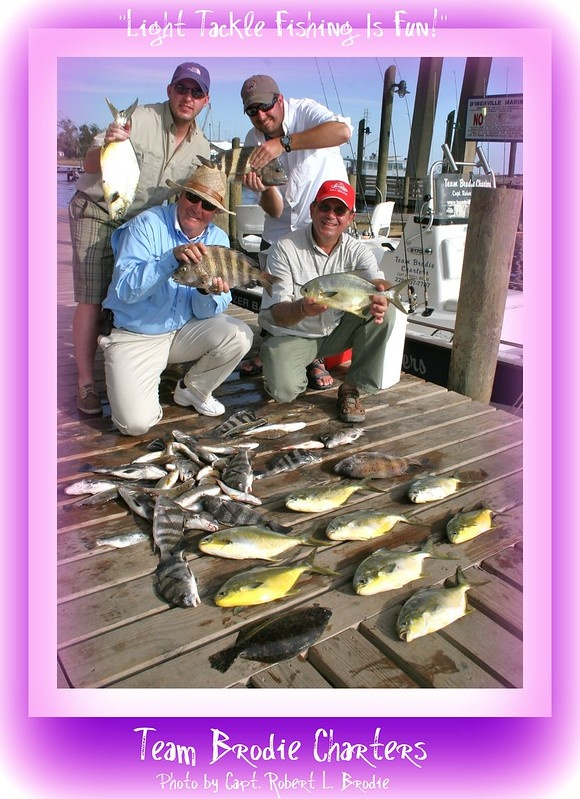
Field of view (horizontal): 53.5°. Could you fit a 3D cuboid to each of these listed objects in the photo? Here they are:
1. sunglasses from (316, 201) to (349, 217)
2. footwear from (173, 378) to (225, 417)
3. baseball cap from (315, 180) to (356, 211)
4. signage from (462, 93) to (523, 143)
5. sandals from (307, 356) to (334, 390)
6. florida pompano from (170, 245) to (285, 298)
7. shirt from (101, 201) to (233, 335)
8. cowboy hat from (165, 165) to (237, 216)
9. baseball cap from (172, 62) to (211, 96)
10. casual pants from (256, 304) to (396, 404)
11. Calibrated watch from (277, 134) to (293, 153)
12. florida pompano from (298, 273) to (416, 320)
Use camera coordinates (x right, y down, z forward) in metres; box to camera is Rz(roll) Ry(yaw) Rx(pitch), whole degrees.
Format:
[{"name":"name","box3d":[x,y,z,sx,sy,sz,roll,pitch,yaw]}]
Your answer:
[{"name":"sunglasses","box3d":[0.243,-1.112,3.367,0.212,0.084,0.120,3,41,-7]},{"name":"footwear","box3d":[-0.602,-0.002,3.724,0.398,0.170,0.154,22,29,21]},{"name":"baseball cap","box3d":[0.302,-1.201,3.413,0.327,0.169,0.179,-13,24,-39]},{"name":"signage","box3d":[2.645,-3.633,7.497,0.301,0.564,0.853,-10,22,-33]},{"name":"sandals","box3d":[0.210,-0.170,4.165,0.117,0.124,0.326,-5,17,-7]},{"name":"florida pompano","box3d":[-0.347,-0.667,2.967,0.503,0.237,0.089,-10,23,-32]},{"name":"shirt","box3d":[-0.681,-0.672,3.363,0.687,0.667,0.630,10,13,-20]},{"name":"cowboy hat","box3d":[-0.482,-1.098,2.974,0.295,0.231,0.422,0,18,-8]},{"name":"baseball cap","box3d":[-0.587,-1.878,3.378,0.226,0.162,0.201,-1,19,-10]},{"name":"casual pants","box3d":[0.221,-0.279,3.753,1.045,0.611,0.602,-5,32,-6]},{"name":"Calibrated watch","box3d":[-0.043,-1.710,3.853,0.074,0.105,0.104,0,51,-9]},{"name":"florida pompano","box3d":[0.402,-0.559,3.214,0.486,0.291,0.579,13,21,29]}]
